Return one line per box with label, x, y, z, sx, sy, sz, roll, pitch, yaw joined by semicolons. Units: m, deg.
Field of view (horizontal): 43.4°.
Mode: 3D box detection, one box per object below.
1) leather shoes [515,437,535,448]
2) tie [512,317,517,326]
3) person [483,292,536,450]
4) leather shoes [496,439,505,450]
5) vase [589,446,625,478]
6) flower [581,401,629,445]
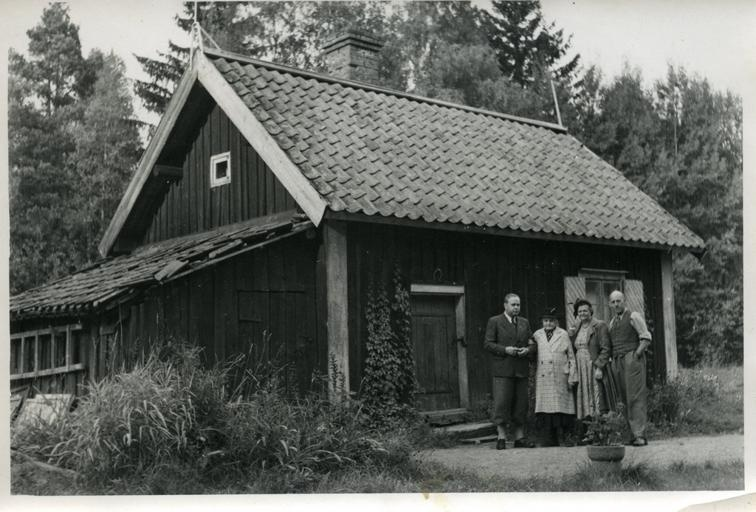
leather shoes;2.576;3.316;16.847;0.323;0.149;0.180;0;0;-16
tie;2.419;1.149;16.850;0.101;0.066;0.111;1;36;4
person;2.323;2.049;16.872;0.902;2.703;0.637;0;-9;-4
leather shoes;2.146;3.287;16.665;0.109;0.134;0.199;2;2;7
vase;3.855;3.444;16.064;0.517;0.416;0.534;1;-12;-10
flower;3.888;2.667;16.336;0.686;0.988;0.947;-2;-1;8
